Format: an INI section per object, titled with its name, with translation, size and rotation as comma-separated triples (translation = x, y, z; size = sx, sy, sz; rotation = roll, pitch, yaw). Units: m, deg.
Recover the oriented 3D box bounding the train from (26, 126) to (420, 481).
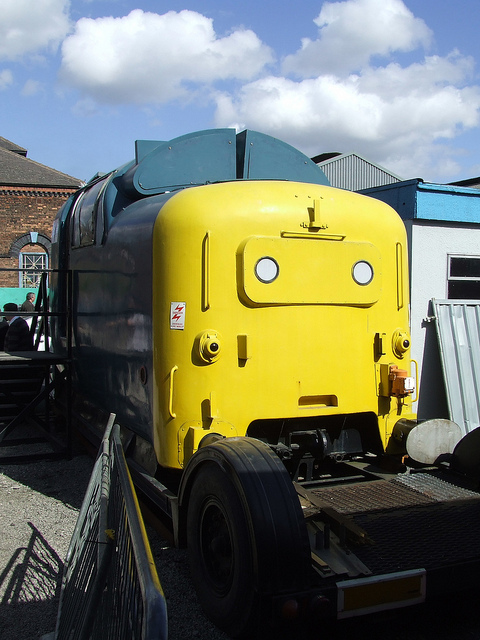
[train]
translation = -0.559, -0.351, 5.872
size = 2.500, 3.097, 5.010
rotation = -1, 4, -30
